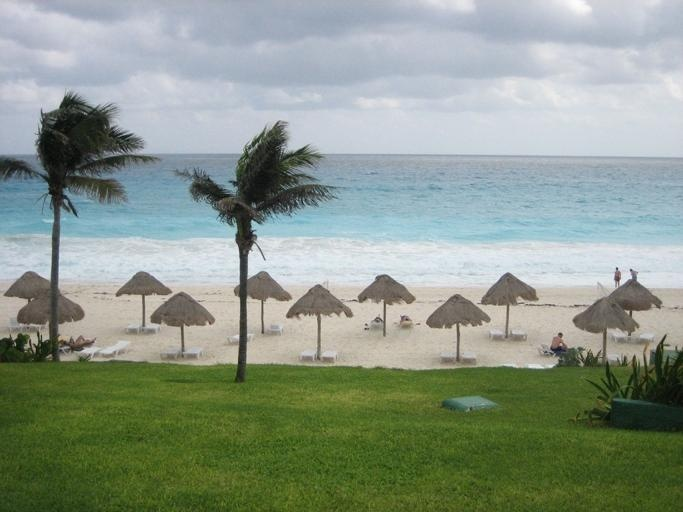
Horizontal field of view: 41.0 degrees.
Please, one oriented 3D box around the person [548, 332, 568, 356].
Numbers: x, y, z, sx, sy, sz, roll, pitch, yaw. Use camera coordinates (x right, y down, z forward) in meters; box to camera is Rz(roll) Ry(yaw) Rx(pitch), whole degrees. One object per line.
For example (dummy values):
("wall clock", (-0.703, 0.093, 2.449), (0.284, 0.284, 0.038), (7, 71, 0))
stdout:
("person", (8.244, 3.373, 34.556), (0.544, 0.697, 0.644), (-3, 14, -33))
